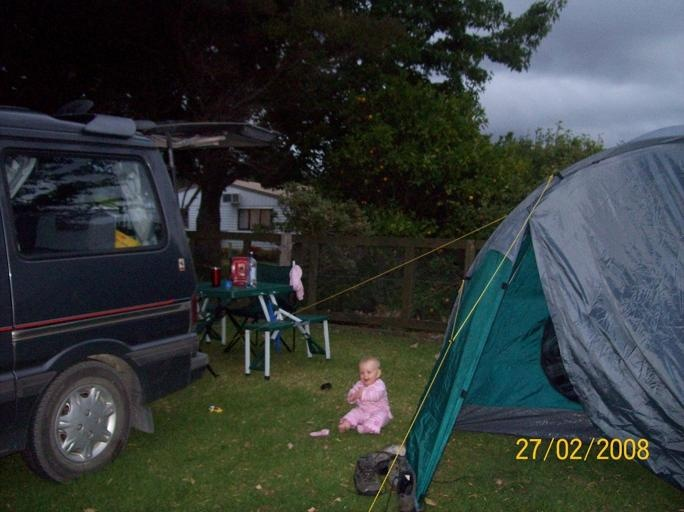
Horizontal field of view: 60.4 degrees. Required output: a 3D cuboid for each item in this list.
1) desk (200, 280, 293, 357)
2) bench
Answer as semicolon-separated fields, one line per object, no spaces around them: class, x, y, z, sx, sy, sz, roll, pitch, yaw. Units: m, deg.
desk;-1.429;1.006;8.387;1.182;0.806;1.206;6;9;41
bench;-0.720;1.219;8.167;0.423;0.696;1.376;2;3;34
